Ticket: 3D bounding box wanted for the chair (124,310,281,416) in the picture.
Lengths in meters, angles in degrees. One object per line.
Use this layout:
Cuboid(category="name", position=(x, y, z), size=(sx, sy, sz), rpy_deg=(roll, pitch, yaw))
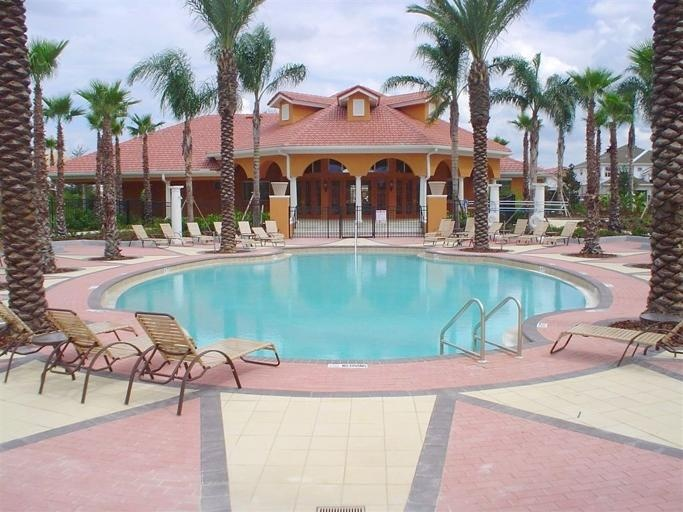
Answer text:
Cuboid(category="chair", position=(-1.979, 1.353, 7.794), size=(1.000, 1.116, 2.414), rpy_deg=(1, 2, 25))
